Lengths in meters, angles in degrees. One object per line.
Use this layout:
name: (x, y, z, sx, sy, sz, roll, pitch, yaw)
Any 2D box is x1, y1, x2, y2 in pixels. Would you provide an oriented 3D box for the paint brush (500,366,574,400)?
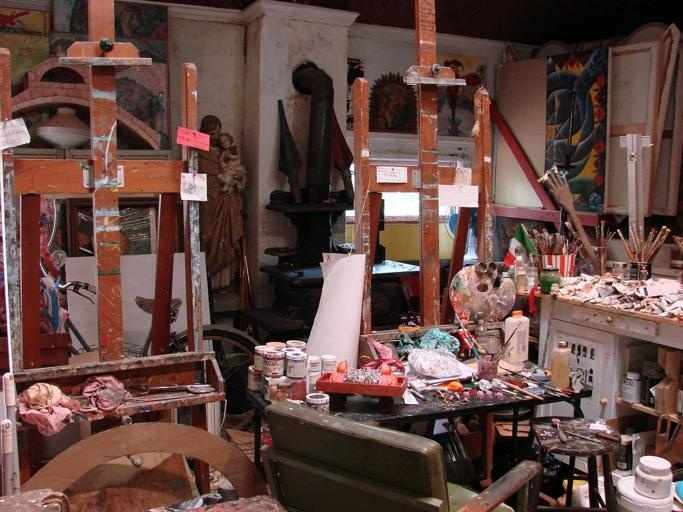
paint brush: (1.131, 0.730, 3.623, 0.131, 0.060, 0.433, 4, 9, -21)

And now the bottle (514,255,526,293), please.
bottle: (1.480, 0.146, 4.871, 0.096, 0.284, 0.337, 1, 4, 16)

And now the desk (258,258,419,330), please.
desk: (-0.149, 0.291, 5.540, 0.855, 0.460, 0.879, 6, 7, 40)

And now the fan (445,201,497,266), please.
fan: (1.459, -0.196, 6.480, 0.672, 0.674, 2.102, 1, 4, 12)

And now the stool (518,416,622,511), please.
stool: (1.339, 1.222, 3.467, 0.471, 0.692, 0.543, 0, 3, 4)

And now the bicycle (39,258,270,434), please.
bicycle: (-1.741, 0.493, 5.644, 1.848, 1.185, 0.931, -8, -1, -18)

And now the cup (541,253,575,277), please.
cup: (1.747, 0.074, 4.789, 0.214, 0.168, 0.196, 2, -3, 0)

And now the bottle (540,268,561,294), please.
bottle: (1.604, 0.192, 4.577, 0.178, 0.214, 0.147, 1, 1, -14)

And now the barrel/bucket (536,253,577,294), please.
barrel/bucket: (1.706, 0.139, 4.701, 0.310, 0.326, 0.283, 0, -1, 0)

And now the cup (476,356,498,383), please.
cup: (0.906, 0.684, 3.606, 0.128, 0.138, 0.126, 2, -1, 0)

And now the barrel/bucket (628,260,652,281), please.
barrel/bucket: (2.248, 0.112, 4.448, 0.127, 0.106, 0.140, 0, -2, 21)

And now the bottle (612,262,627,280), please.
bottle: (2.149, 0.110, 4.562, 0.118, 0.116, 0.120, 0, 2, -13)

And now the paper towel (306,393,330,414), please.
paper towel: (-0.124, 0.773, 3.186, 0.111, 0.080, 0.112, 1, 2, -13)

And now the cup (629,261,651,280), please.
cup: (2.268, 0.106, 4.481, 0.133, 0.140, 0.131, -1, 4, 0)

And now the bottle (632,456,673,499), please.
bottle: (1.712, 1.187, 3.241, 0.189, 0.182, 0.193, -1, 2, 1)
